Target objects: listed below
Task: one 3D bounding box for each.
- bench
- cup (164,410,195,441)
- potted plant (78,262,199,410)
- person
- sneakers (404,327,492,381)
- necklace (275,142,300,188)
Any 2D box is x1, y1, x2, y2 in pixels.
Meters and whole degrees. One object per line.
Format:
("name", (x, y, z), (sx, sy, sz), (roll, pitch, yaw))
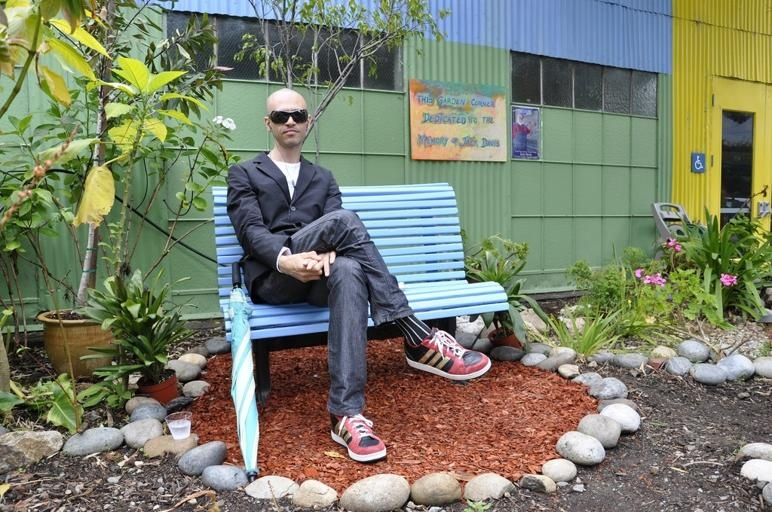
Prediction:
("bench", (-0.109, 0.216, 4.018), (2.081, 1.391, 0.914), (-4, 16, -30))
("cup", (-1.216, 0.992, 3.265), (0.156, 0.119, 0.146), (-1, 5, 0))
("potted plant", (-1.763, 0.520, 3.889), (0.684, 0.891, 0.828), (-3, 8, -21))
("person", (-0.278, 0.177, 3.680), (1.040, 1.864, 1.333), (-7, 10, -42))
("sneakers", (0.397, 0.635, 3.719), (0.627, 0.284, 0.262), (3, 23, 9))
("necklace", (-0.704, -0.612, 3.898), (0.213, 0.294, 0.097), (3, -16, -22))
